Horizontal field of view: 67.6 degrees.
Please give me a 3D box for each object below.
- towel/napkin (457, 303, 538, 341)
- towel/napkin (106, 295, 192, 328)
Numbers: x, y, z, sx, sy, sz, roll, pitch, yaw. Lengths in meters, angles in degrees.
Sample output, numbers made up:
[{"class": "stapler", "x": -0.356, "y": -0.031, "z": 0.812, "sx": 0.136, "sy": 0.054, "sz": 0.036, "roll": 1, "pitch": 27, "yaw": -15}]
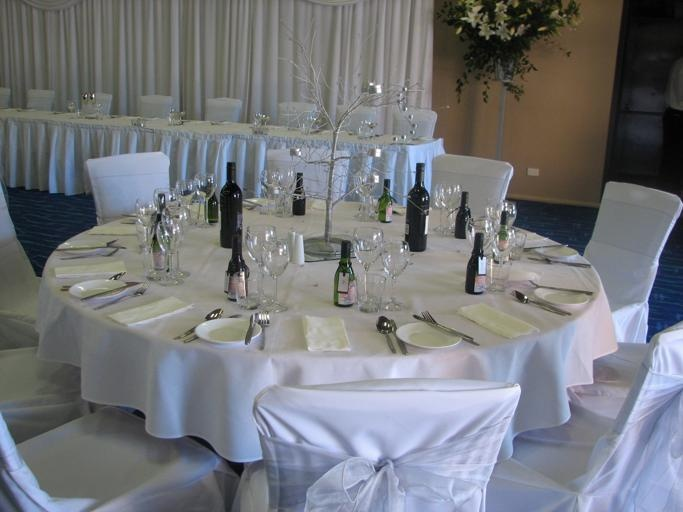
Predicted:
[{"class": "towel/napkin", "x": 0.513, "y": 0.214, "z": 1.720, "sx": 0.102, "sy": 0.029, "sz": 0.173, "roll": -13, "pitch": 25, "yaw": -25}, {"class": "towel/napkin", "x": -0.628, "y": 0.181, "z": 1.692, "sx": 0.175, "sy": 0.035, "sz": 0.102, "roll": -16, "pitch": 29, "yaw": -40}]
